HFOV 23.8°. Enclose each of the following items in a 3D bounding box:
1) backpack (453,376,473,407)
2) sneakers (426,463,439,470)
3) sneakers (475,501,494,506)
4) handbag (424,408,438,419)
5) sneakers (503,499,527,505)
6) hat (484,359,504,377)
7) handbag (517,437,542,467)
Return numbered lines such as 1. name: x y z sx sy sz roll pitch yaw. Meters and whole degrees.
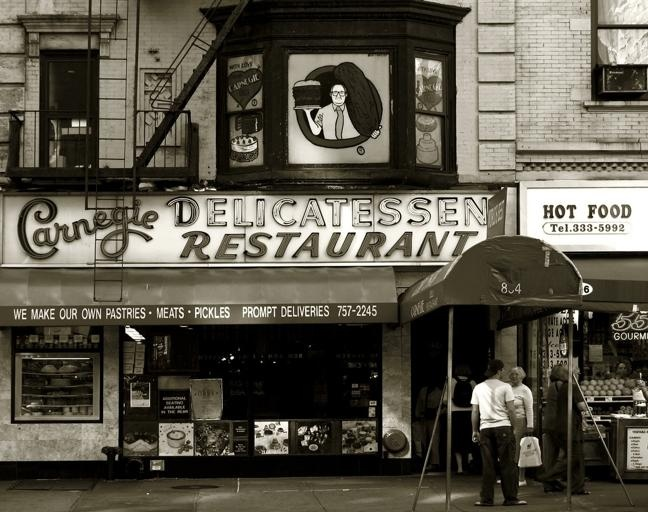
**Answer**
1. backpack: 2.521 2.576 28.211 0.385 0.544 0.153 0 -4 -2
2. sneakers: 2.007 4.055 28.714 0.248 0.147 0.140 0 -4 -21
3. sneakers: 2.623 4.197 25.422 0.244 0.103 0.106 0 -5 23
4. handbag: 1.970 3.025 28.717 0.226 0.174 0.174 1 0 2
5. sneakers: 3.131 4.173 25.404 0.269 0.106 0.153 0 -6 -3
6. hat: 2.870 1.932 25.847 0.302 0.259 0.217 -10 19 -32
7. handbag: 3.503 3.463 26.406 0.570 0.691 0.282 0 -13 3
